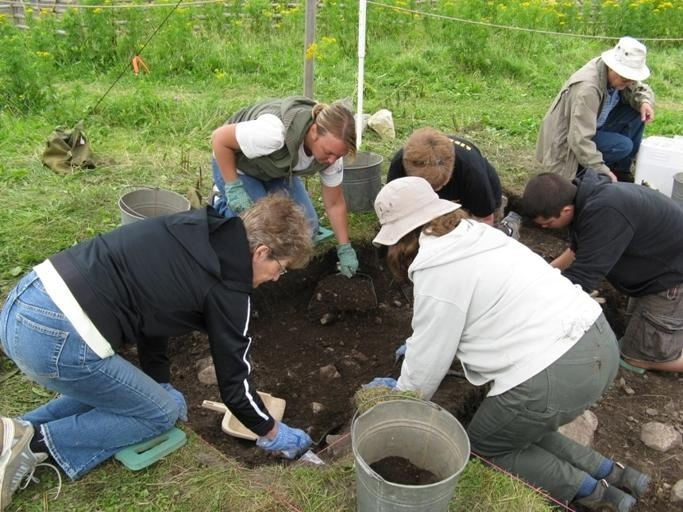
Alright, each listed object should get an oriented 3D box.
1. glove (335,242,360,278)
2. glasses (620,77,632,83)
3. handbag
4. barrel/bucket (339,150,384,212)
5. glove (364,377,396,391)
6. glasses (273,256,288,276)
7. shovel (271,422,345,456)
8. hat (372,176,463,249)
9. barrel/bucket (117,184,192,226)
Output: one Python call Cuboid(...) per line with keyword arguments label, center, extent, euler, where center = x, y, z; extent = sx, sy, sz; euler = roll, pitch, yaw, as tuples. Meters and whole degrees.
Cuboid(label="glove", center=(0.053, 0.030, 5.082), extent=(0.189, 0.277, 0.123), euler=(8, -9, -1))
Cuboid(label="glasses", center=(2.660, -1.638, 5.707), extent=(0.044, 0.025, 0.059), euler=(7, 9, -5))
Cuboid(label="handbag", center=(-2.749, -1.051, 6.209), extent=(0.428, 0.280, 0.615), euler=(-8, 49, -13))
Cuboid(label="barrel/bucket", center=(0.246, -0.676, 5.683), extent=(0.421, 0.459, 0.517), euler=(2, 36, 7))
Cuboid(label="glove", center=(0.297, 0.843, 4.050), extent=(0.134, 0.062, 0.136), euler=(-1, 5, -33))
Cuboid(label="glasses", center=(-0.349, 0.075, 3.502), extent=(0.036, 0.114, 0.109), euler=(29, 2, 2))
Cuboid(label="shovel", center=(-0.218, 1.215, 4.025), extent=(0.462, 0.086, 0.122), euler=(-25, 46, -32))
Cuboid(label="hat", center=(0.425, -0.263, 3.542), extent=(0.395, 0.234, 0.442), euler=(-36, -2, -17))
Cuboid(label="barrel/bucket", center=(-1.472, -0.391, 4.787), extent=(0.312, 0.342, 0.341), euler=(14, 36, -10))
